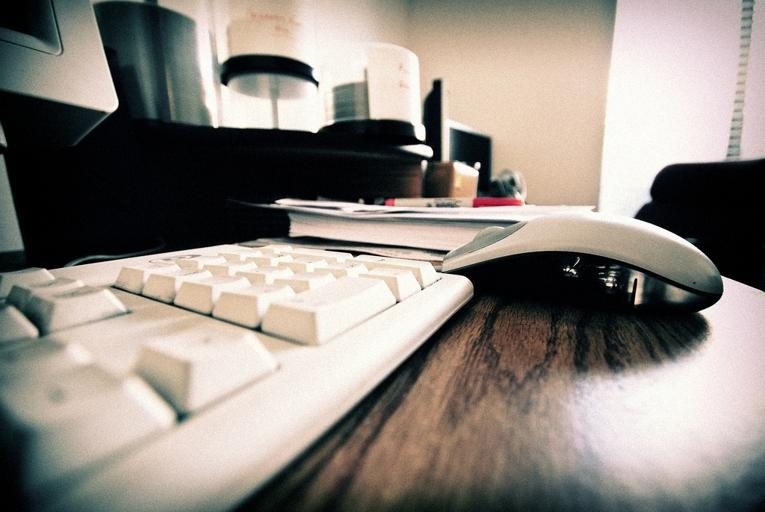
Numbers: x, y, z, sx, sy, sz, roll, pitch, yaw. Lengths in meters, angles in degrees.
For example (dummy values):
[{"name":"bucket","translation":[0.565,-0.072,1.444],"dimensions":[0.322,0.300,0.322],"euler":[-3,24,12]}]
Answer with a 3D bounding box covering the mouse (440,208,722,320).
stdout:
[{"name":"mouse","translation":[0.213,-0.015,0.560],"dimensions":[0.227,0.069,0.131],"euler":[7,9,27]}]
